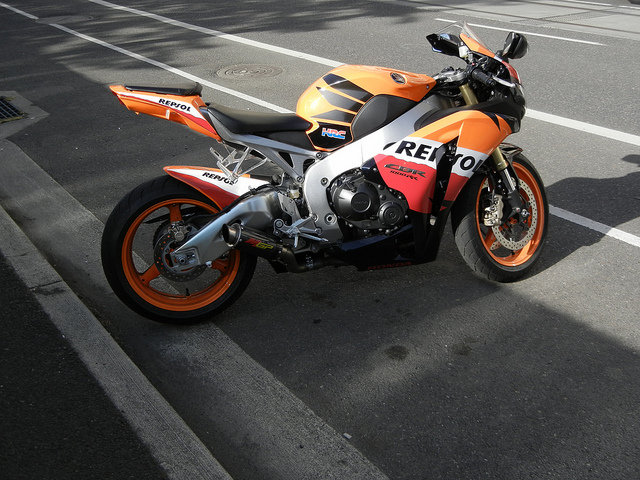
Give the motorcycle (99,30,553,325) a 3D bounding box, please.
[{"bbox_3d":[0.244,-0.437,3.572,3.666,1.478,0.992,-10,16,-12],"label":"motorcycle"}]
